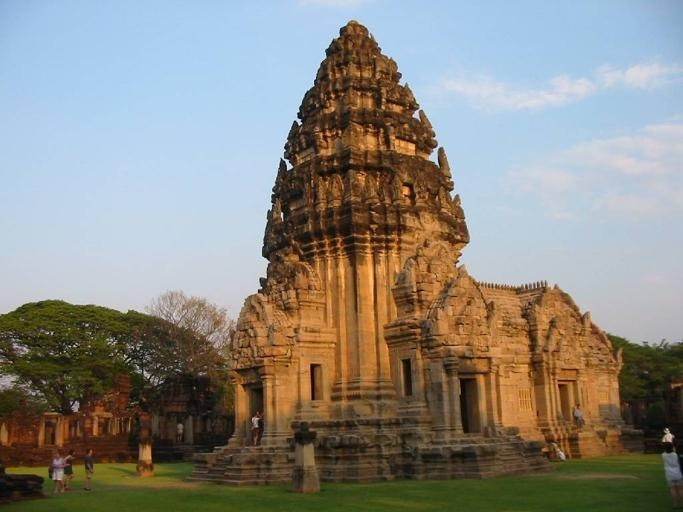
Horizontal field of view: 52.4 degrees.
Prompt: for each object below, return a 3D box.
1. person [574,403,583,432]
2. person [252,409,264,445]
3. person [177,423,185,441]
[{"bbox_3d":[11.427,7.765,33.495,0.453,1.170,0.991,-8,-22,16],"label":"person"},{"bbox_3d":[-3.403,6.862,27.735,0.410,1.347,1.169,1,-21,-7],"label":"person"},{"bbox_3d":[-10.435,11.331,44.724,0.440,1.252,0.909,3,-21,-13],"label":"person"}]
